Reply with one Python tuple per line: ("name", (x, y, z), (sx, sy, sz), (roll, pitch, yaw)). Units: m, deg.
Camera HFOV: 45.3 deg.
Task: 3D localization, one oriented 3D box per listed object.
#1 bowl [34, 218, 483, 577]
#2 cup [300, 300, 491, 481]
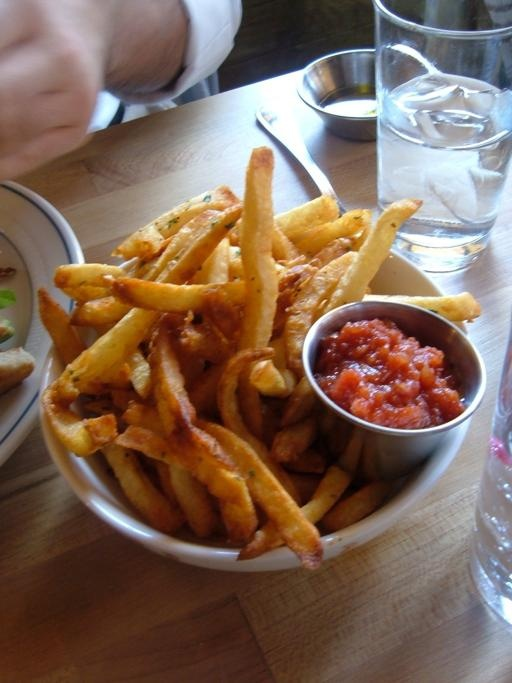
("bowl", (-0.079, 0.043, 0.753), (0.489, 0.112, 0.435), (-8, 40, 1))
("cup", (0.172, 0.081, 0.858), (0.254, 0.162, 0.233), (-1, 50, 1))
